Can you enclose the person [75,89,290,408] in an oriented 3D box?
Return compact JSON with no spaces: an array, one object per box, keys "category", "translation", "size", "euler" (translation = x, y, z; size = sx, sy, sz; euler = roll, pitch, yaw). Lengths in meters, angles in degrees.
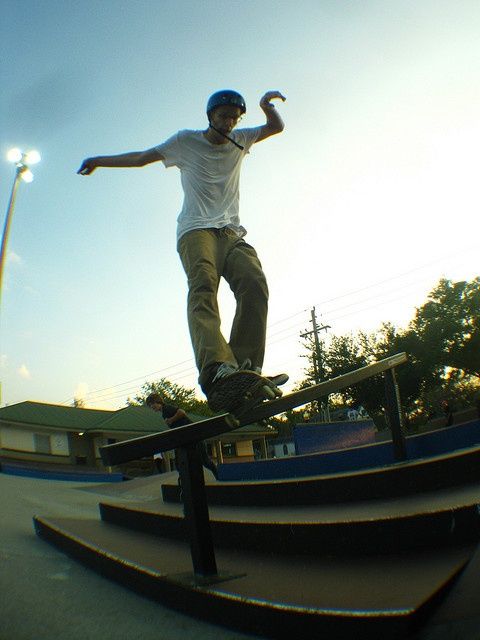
[{"category":"person","translation":[-0.346,-0.494,2.847],"size":[1.278,2.070,0.862],"euler":[-7,-17,10]}]
